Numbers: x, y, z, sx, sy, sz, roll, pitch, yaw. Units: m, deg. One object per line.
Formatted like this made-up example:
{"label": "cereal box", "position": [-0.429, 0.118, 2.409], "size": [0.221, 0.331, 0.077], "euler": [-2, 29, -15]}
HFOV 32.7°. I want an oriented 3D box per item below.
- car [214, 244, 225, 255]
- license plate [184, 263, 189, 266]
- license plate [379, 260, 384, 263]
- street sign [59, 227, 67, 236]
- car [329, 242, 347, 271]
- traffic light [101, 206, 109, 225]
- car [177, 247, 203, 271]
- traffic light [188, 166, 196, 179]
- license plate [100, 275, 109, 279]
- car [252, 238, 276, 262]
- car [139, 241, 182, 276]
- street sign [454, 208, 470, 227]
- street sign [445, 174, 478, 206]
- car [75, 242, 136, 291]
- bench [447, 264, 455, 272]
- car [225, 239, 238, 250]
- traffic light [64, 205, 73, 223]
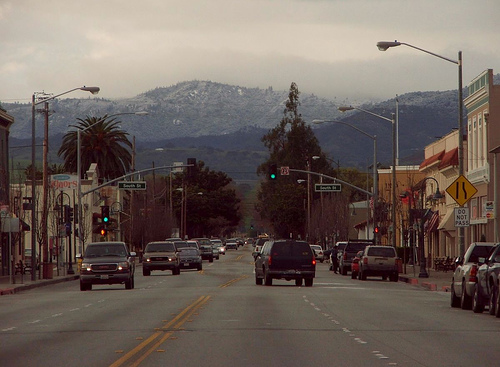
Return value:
{"label": "car", "position": [-3.802, 7.969, 104.142], "size": [1.478, 1.313, 2.550], "euler": [0, -6, -1]}
{"label": "license plate", "position": [-4.609, 5.829, 61.799], "size": [0.213, 0.181, 0.133], "euler": [0, -2, 6]}
{"label": "license plate", "position": [7.510, 4.412, 48.582], "size": [0.277, 0.139, 0.127], "euler": [2, -7, -19]}
{"label": "street sign", "position": [-12.573, 3.190, 57.189], "size": [0.430, 1.068, 0.517], "euler": [0, -2, 1]}
{"label": "car", "position": [6.235, 4.744, 59.698], "size": [0.973, 1.174, 1.795], "euler": [0, 1, 2]}
{"label": "traffic light", "position": [-11.501, 2.408, 67.542], "size": [0.496, 1.477, 3.221], "euler": [1, -7, -12]}
{"label": "car", "position": [-4.438, 5.413, 61.801], "size": [1.310, 1.238, 2.299], "euler": [0, -11, -3]}
{"label": "traffic light", "position": [-4.143, -0.917, 61.416], "size": [0.468, 0.872, 1.034], "euler": [0, -7, -5]}
{"label": "license plate", "position": [-7.065, 4.493, 41.379], "size": [0.356, 0.170, 0.037], "euler": [-1, -5, -3]}
{"label": "car", "position": [0.965, 6.591, 86.725], "size": [1.462, 1.866, 2.788], "euler": [1, -1, -9]}
{"label": "car", "position": [-5.766, 4.749, 55.079], "size": [2.043, 2.233, 3.591], "euler": [0, -4, -3]}
{"label": "street sign", "position": [9.854, 1.520, 39.640], "size": [0.605, 0.908, 0.839], "euler": [-2, -7, 11]}
{"label": "street sign", "position": [9.828, 0.263, 39.669], "size": [1.387, 1.744, 0.064], "euler": [1, 32, 16]}
{"label": "car", "position": [-7.065, 4.044, 42.160], "size": [2.659, 2.388, 1.817], "euler": [1, -6, -13]}
{"label": "bench", "position": [14.049, 5.787, 59.465], "size": [0.542, 0.673, 0.233], "euler": [-9, -8, 14]}
{"label": "car", "position": [-3.432, 10.947, 153.786], "size": [1.330, 1.533, 2.777], "euler": [0, -8, -2]}
{"label": "traffic light", "position": [-12.438, 2.112, 58.481], "size": [0.441, 1.193, 1.724], "euler": [0, -7, -7]}
